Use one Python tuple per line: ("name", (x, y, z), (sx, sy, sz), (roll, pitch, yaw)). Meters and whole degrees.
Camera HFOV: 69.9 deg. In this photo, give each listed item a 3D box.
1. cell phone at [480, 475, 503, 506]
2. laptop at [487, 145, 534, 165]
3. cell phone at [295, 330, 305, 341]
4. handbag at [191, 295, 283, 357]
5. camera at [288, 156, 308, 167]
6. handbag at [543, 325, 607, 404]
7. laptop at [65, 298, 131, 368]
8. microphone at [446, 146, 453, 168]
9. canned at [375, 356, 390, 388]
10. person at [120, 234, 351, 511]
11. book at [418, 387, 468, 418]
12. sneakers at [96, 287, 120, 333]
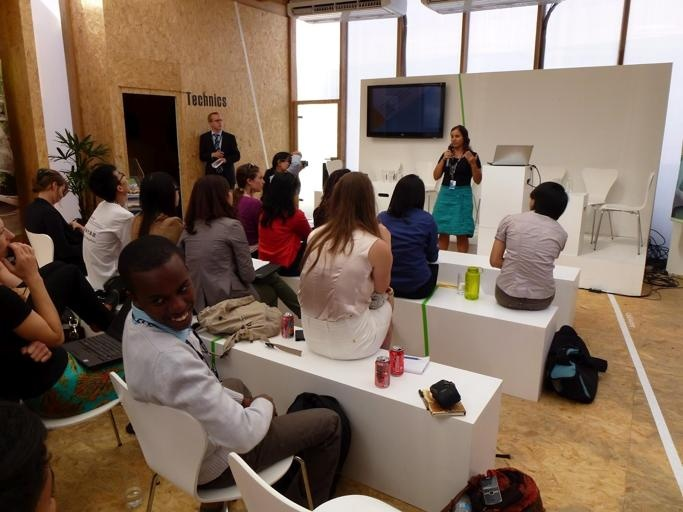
("cell phone", (0.757, 1.193, 2.488), (0.073, 0.122, 0.042), (-10, -23, 11))
("laptop", (2.106, -1.251, 6.100), (0.438, 0.263, 0.289), (15, 22, 31))
("cell phone", (-0.288, 0.535, 3.305), (0.049, 0.019, 0.079), (-2, 33, -20))
("handbag", (-0.705, 0.441, 3.328), (0.443, 0.182, 0.374), (-12, 22, -23))
("camera", (-0.651, -1.350, 7.160), (0.184, 0.161, 0.304), (6, 9, 26))
("handbag", (1.764, 0.840, 3.735), (0.222, 0.544, 0.476), (-14, -8, 42))
("laptop", (-1.427, 0.475, 2.950), (0.329, 0.316, 0.333), (18, 7, 39))
("microphone", (1.312, -1.211, 6.001), (0.055, 0.249, 0.064), (8, -6, 8))
("canned", (0.234, 0.652, 2.817), (0.088, 0.160, 0.139), (4, 19, 5))
("person", (-0.503, 0.648, 2.316), (0.954, 1.502, 0.458), (-6, 19, -23))
("book", (0.538, 0.775, 2.609), (0.127, 0.044, 0.139), (-5, 28, -2))
("sneakers", (-1.717, 0.400, 3.572), (0.174, 0.278, 0.077), (10, 6, 33))
